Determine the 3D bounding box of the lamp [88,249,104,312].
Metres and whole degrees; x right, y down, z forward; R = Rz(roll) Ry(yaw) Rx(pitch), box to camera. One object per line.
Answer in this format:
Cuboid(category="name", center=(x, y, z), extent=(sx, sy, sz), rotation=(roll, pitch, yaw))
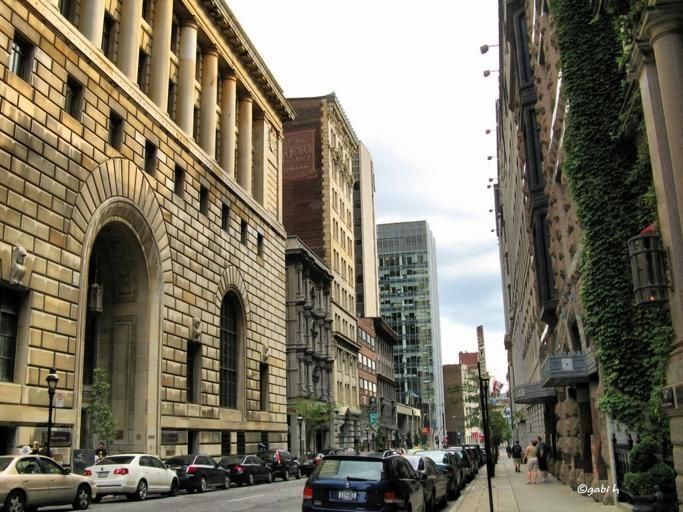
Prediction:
Cuboid(category="lamp", center=(-13.937, 1.539, 38.608), extent=(0.807, 3.844, 2.680), rotation=(6, -22, -20))
